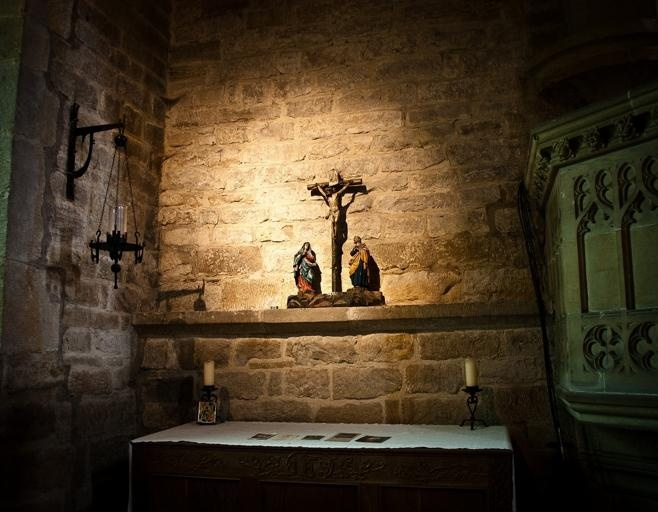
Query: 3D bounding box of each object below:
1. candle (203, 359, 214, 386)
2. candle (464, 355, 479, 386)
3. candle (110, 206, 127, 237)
[{"bbox_3d":[-0.753,0.736,3.779,0.055,0.150,0.080,-1,-9,-4],"label":"candle"},{"bbox_3d":[0.819,0.673,3.469,0.068,0.162,0.060,-4,-9,13],"label":"candle"},{"bbox_3d":[-1.226,-0.204,3.520,0.085,0.162,0.067,3,-10,-29],"label":"candle"}]
